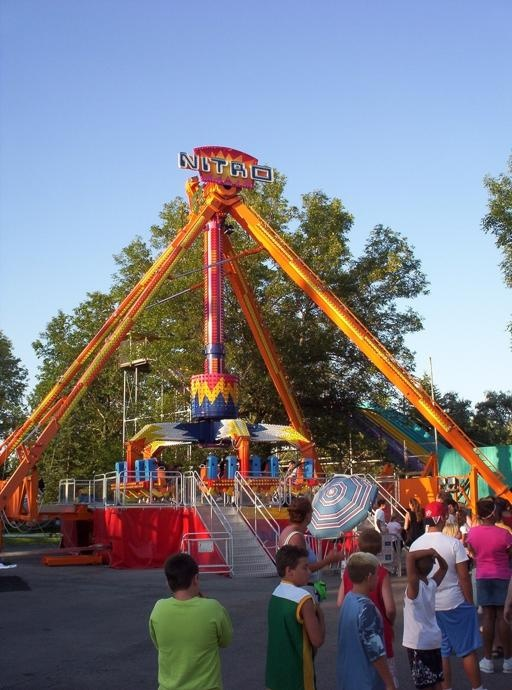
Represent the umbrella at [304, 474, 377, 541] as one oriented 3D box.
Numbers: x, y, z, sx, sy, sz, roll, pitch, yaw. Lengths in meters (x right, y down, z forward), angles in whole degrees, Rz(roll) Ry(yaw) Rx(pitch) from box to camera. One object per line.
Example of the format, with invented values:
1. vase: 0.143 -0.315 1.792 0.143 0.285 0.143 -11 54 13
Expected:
1. umbrella: 0.905 1.604 7.254 0.838 0.821 0.275 -37 -64 23
